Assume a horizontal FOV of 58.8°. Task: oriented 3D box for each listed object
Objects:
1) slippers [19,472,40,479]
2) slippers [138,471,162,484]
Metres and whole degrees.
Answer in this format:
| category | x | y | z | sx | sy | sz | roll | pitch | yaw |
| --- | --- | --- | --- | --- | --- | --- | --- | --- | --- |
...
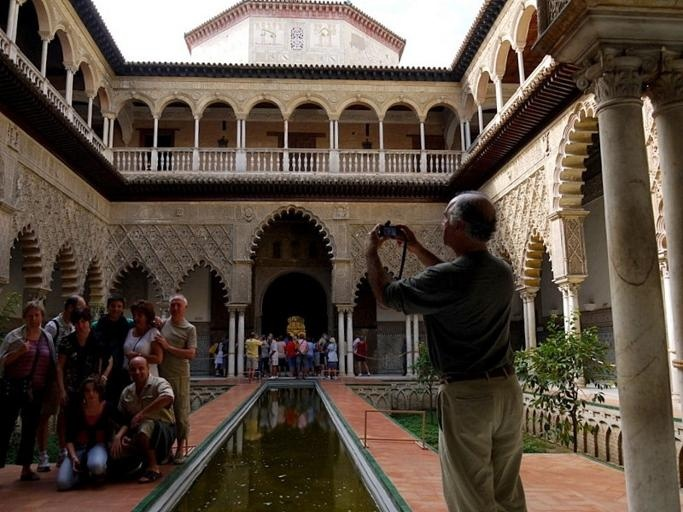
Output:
| category | x | y | z | sx | sy | sz | roll | pitch | yaw |
| --- | --- | --- | --- | --- | --- | --- | --- | --- | --- |
| slippers | -2.832 | 1.980 | 5.476 | 0.074 | 0.067 | 0.146 | 0 | -4 | 39 |
| slippers | -1.672 | 1.912 | 5.273 | 0.189 | 0.091 | 0.127 | 2 | -6 | -17 |
